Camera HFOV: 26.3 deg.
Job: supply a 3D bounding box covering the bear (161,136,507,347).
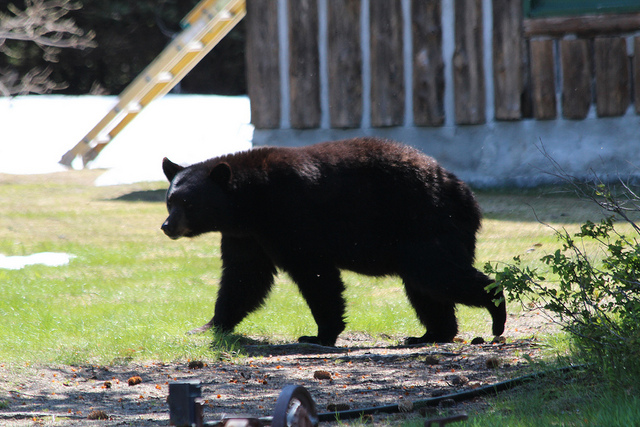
[{"bbox_3d":[0.241,0.469,21.974,5.410,3.391,1.643,2,6,-1],"label":"bear"}]
